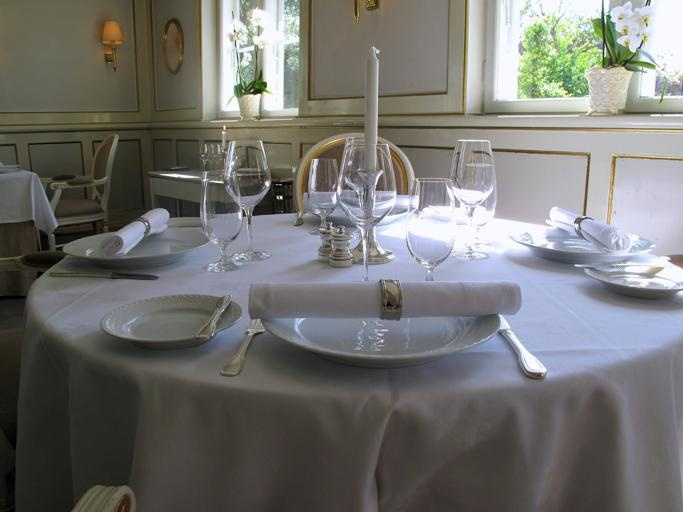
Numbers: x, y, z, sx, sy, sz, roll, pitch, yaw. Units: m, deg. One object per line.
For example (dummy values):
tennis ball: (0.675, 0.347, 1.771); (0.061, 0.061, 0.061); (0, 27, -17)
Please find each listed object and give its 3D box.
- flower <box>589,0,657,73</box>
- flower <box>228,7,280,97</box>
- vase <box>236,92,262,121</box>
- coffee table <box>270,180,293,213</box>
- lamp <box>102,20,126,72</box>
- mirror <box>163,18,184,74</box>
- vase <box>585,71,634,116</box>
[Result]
flower: (1.101, -0.856, 1.964); (0.243, 0.273, 0.444); (9, 17, 30)
flower: (-0.690, -1.552, 3.933); (0.336, 0.664, 0.879); (-2, 14, -10)
vase: (-0.719, -1.144, 3.945); (0.159, 0.184, 0.193); (0, 10, 2)
coffee table: (-0.407, -0.397, 3.439); (0.141, 0.259, 0.486); (-2, 15, -8)
lamp: (-2.263, -2.078, 5.024); (0.204, 0.473, 0.212); (-6, 15, -24)
mirror: (-1.592, -1.962, 4.791); (0.055, 0.479, 0.479); (-9, 17, -35)
vase: (1.082, -0.659, 2.090); (0.153, 0.170, 0.178); (-1, 11, 1)
